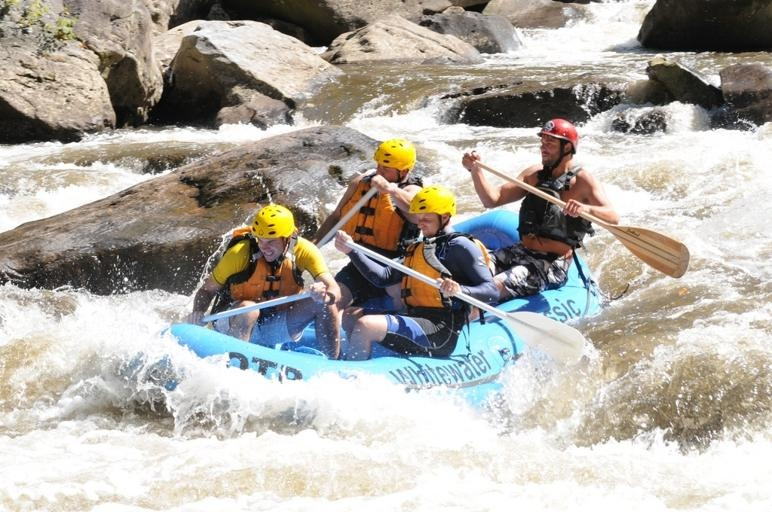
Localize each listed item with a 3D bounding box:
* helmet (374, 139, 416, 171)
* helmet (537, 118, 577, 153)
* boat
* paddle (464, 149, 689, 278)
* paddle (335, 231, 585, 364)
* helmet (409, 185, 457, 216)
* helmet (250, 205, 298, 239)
[{"bbox_3d":[0.094,-1.079,9.929,0.515,0.282,0.381,-2,15,-33],"label":"helmet"},{"bbox_3d":[1.927,-1.337,10.064,0.513,0.340,0.366,5,13,-29],"label":"helmet"},{"bbox_3d":[0.431,0.789,9.124,3.948,0.770,1.946,-13,32,-23],"label":"boat"},{"bbox_3d":[2.297,-0.451,10.672,3.819,0.441,0.132,26,12,8],"label":"paddle"},{"bbox_3d":[0.696,0.464,9.252,3.336,0.414,0.141,22,-3,6],"label":"paddle"},{"bbox_3d":[0.484,-0.571,9.185,0.431,0.206,0.279,5,2,-19],"label":"helmet"},{"bbox_3d":[-1.144,-0.353,9.136,0.419,0.268,0.477,11,15,11],"label":"helmet"}]
